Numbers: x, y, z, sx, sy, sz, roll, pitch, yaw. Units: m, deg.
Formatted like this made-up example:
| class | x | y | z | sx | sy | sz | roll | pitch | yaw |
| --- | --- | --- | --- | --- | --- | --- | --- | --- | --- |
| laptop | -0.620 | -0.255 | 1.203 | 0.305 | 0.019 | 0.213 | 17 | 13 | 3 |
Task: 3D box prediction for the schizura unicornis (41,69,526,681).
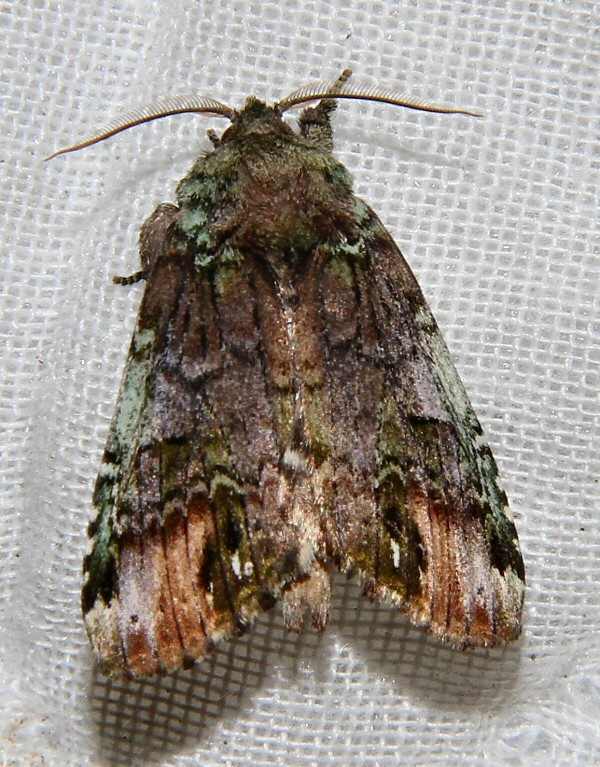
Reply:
| class | x | y | z | sx | sy | sz | roll | pitch | yaw |
| --- | --- | --- | --- | --- | --- | --- | --- | --- | --- |
| schizura unicornis | -0.065 | -0.144 | 3.670 | 1.117 | 0.375 | 1.599 | -3 | 88 | 21 |
